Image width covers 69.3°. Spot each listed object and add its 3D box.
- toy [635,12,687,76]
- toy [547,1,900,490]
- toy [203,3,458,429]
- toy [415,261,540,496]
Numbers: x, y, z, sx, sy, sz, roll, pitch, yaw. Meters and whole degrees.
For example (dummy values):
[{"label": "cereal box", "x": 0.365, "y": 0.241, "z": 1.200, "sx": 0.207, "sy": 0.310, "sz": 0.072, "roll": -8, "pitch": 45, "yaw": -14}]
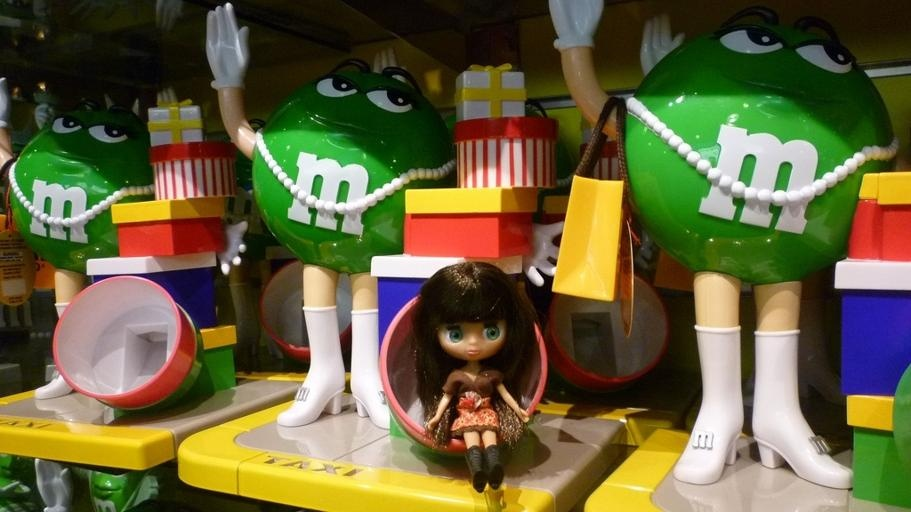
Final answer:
[{"label": "toy", "x": 0.663, "y": -0.651, "z": 2.123, "sx": 0.128, "sy": 0.251, "sz": 0.079, "roll": 3, "pitch": -14, "yaw": 16}, {"label": "toy", "x": 0.833, "y": -0.014, "z": 1.805, "sx": 0.738, "sy": 1.215, "sz": 0.394, "roll": 0, "pitch": 14, "yaw": 8}, {"label": "toy", "x": -0.321, "y": -0.032, "z": 2.125, "sx": 0.659, "sy": 1.095, "sz": 0.399, "roll": -2, "pitch": 13, "yaw": -1}, {"label": "toy", "x": 0.066, "y": 0.304, "z": 1.749, "sx": 0.338, "sy": 0.524, "sz": 0.311, "roll": -3, "pitch": 13, "yaw": -4}]
